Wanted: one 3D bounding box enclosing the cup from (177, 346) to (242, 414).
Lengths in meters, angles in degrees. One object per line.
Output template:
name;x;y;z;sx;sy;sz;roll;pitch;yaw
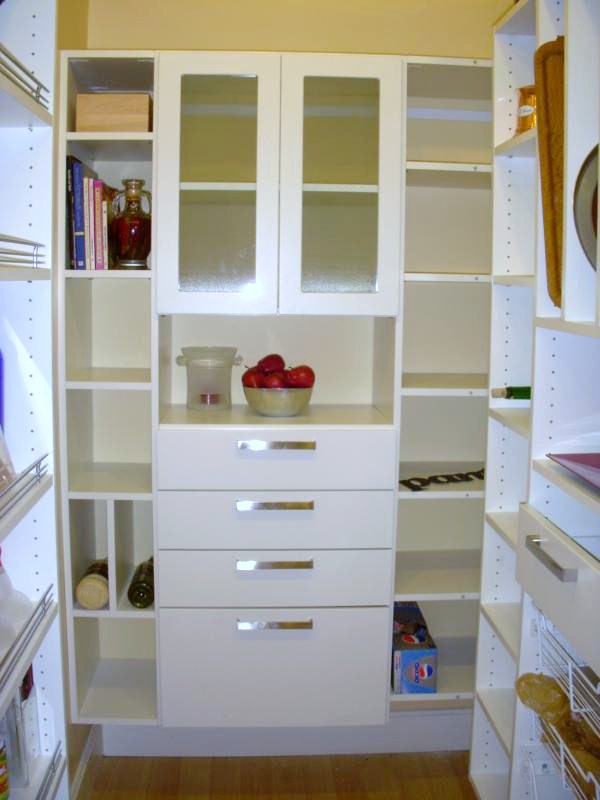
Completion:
cup;-0.244;-0.060;1.880;0.144;0.155;0.191;-1;-75;-10

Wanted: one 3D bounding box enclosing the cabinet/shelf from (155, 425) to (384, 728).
cabinet/shelf;-0.054;0.350;1.923;0.586;0.463;0.955;1;-66;2

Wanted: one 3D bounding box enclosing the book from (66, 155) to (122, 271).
book;-0.495;-0.435;1.652;0.073;0.260;0.287;1;-79;-6

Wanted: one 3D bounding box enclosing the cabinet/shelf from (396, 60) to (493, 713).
cabinet/shelf;0.427;0.005;2.019;0.322;0.212;2.132;7;-69;28

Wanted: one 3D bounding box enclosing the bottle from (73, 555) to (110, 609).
bottle;-0.529;0.438;1.801;0.075;0.140;0.110;10;-87;-7
